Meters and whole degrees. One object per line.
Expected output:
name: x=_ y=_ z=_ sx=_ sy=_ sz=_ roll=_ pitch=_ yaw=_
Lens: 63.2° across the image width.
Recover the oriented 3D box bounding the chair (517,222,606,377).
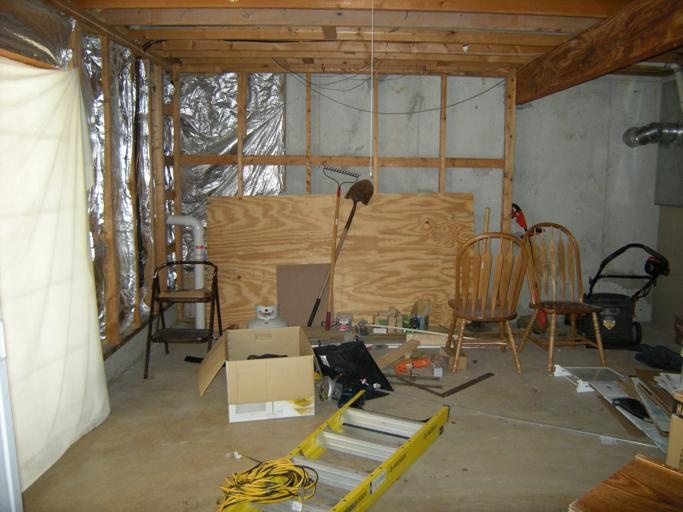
chair: x=1.877 y=0.307 z=4.693 sx=0.635 sy=1.154 sz=0.603 roll=0 pitch=4 yaw=10

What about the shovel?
shovel: x=0.007 y=-0.014 z=5.080 sx=0.297 sy=1.709 sz=0.098 roll=-4 pitch=-31 yaw=29

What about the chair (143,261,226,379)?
chair: x=-1.388 y=0.570 z=4.881 sx=0.668 sy=1.047 sz=0.730 roll=1 pitch=27 yaw=-9
